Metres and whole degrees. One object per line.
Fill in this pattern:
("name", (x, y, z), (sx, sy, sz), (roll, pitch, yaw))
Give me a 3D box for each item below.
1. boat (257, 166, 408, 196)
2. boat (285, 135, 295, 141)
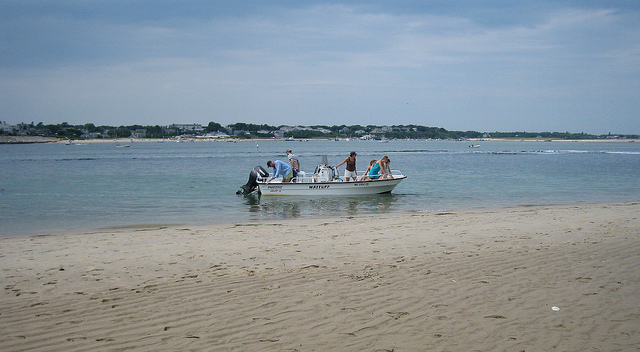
("boat", (0.536, 0.508, 33.366), (11.404, 2.006, 2.844), (0, 5, -1))
("boat", (-16.516, -20.843, 281.143), (6.782, 2.799, 8.983), (2, 6, -4))
